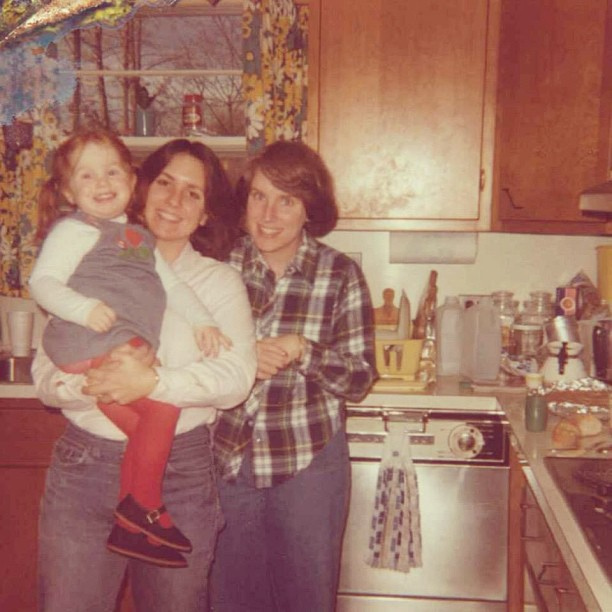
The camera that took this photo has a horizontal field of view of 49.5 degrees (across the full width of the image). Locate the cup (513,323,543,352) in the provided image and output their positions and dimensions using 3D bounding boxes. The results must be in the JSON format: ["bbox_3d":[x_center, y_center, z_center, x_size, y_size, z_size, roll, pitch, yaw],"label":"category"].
[{"bbox_3d":[0.921,0.130,2.763,0.118,0.115,0.116,0,0,0],"label":"cup"}]

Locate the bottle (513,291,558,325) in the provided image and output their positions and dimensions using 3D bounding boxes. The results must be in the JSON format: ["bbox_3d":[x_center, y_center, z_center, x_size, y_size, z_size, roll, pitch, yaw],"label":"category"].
[{"bbox_3d":[0.995,0.011,2.884,0.168,0.147,0.159,0,-3,-3],"label":"bottle"}]

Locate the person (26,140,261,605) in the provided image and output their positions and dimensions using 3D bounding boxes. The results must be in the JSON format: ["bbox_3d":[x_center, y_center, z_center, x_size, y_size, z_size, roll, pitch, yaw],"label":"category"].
[{"bbox_3d":[-0.360,0.125,1.622,0.580,1.110,0.454,-1,3,-36],"label":"person"}]

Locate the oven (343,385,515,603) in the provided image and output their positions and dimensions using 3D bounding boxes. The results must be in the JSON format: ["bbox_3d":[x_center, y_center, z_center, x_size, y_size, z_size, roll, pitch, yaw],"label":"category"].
[{"bbox_3d":[0.451,0.680,2.654,0.779,0.987,0.701,0,-4,1],"label":"oven"}]

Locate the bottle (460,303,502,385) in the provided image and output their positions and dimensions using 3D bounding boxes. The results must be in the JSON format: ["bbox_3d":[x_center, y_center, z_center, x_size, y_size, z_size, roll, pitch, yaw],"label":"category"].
[{"bbox_3d":[0.683,0.138,2.594,0.122,0.299,0.138,0,2,-2],"label":"bottle"}]
